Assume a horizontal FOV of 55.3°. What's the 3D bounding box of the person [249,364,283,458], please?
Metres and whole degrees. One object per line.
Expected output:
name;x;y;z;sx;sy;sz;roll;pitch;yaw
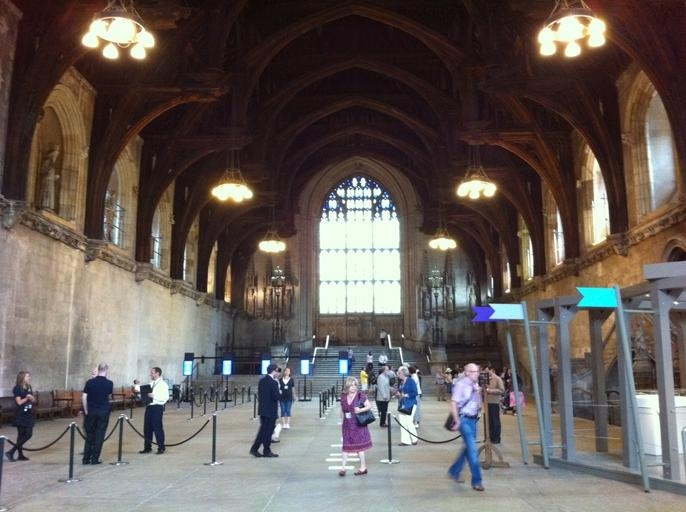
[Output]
person;-1.914;3.746;16.205;0.647;2.228;1.421;1;-13;-7

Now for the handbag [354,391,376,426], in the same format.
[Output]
handbag;0.527;3.272;14.069;0.388;0.679;0.667;-5;-13;19

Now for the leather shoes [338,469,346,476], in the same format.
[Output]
leather shoes;-0.029;4.512;13.789;0.095;0.121;0.269;-1;-22;1

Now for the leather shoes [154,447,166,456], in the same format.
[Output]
leather shoes;-4.502;4.749;16.148;0.117;0.235;0.240;-2;-19;10

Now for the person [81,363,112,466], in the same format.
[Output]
person;-5.610;3.547;14.892;0.568;2.206;0.688;4;-13;-20

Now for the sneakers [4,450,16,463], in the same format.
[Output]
sneakers;-7.782;4.621;15.347;0.212;0.253;0.493;5;-14;-26

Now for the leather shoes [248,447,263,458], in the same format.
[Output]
leather shoes;-2.124;4.687;15.832;0.357;0.266;0.144;2;-2;-10

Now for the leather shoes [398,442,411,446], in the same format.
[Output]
leather shoes;1.642;5.044;17.740;0.272;0.125;0.096;-2;-3;3

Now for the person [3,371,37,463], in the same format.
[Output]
person;-7.543;3.686;15.410;0.538;2.062;1.419;5;-14;-26

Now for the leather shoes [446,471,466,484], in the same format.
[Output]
leather shoes;2.253;4.394;13.105;0.431;0.192;0.164;-1;-1;25

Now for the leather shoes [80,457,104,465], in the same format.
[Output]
leather shoes;-5.709;4.593;14.892;0.453;0.187;0.155;0;-4;-8

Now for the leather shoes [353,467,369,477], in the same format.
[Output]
leather shoes;0.377;4.528;13.860;0.301;0.122;0.123;-1;-14;8

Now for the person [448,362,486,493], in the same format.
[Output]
person;2.432;3.319;13.051;0.674;2.422;1.053;-3;-13;11

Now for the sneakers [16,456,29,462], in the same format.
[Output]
sneakers;-7.488;4.684;15.314;0.295;0.208;0.107;0;-8;-3

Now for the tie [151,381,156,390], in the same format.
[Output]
tie;-4.565;3.079;15.781;0.167;0.171;0.062;-2;2;7

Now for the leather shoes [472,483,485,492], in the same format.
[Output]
leather shoes;2.591;4.406;12.583;0.228;0.120;0.220;-3;-13;11
